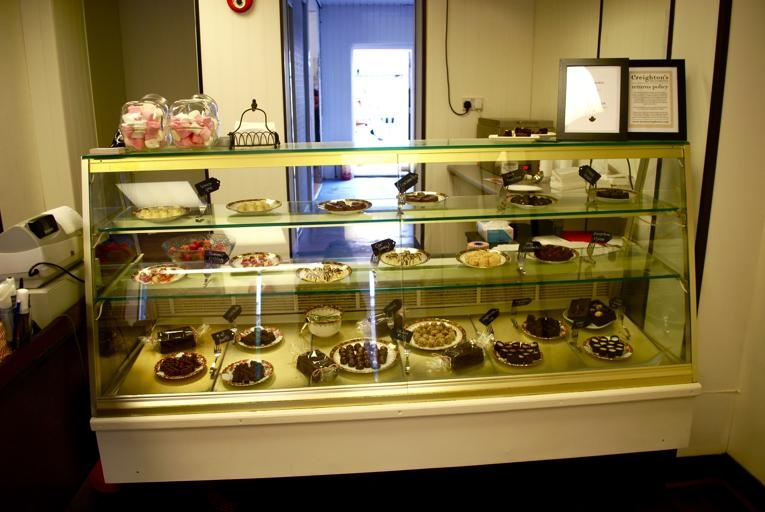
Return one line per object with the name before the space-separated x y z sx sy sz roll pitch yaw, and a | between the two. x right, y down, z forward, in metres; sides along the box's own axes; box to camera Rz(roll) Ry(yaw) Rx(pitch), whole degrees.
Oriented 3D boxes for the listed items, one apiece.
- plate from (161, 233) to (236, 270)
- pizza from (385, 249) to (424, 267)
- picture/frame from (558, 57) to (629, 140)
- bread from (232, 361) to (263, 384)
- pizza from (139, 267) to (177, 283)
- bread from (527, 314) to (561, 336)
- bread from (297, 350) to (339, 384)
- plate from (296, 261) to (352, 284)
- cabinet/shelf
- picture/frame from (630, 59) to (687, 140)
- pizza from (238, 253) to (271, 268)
plate | -1.000 -0.029 2.920 0.256 0.084 0.248 -4 12 -11
pizza | 0.120 0.011 2.986 0.135 0.017 0.132 8 31 13
picture/frame | 1.119 -0.812 2.809 0.450 0.510 0.043 1 -2 4
bread | -0.721 0.629 2.870 0.116 0.034 0.114 0 28 -3
pizza | -1.232 0.108 2.904 0.118 0.014 0.114 1 38 -9
bread | 0.927 0.379 3.095 0.128 0.043 0.133 -9 19 -31
bread | -0.362 0.572 2.872 0.144 0.076 0.183 -11 27 -30
plate | -0.327 0.095 2.951 0.174 0.038 0.168 -10 24 -33
cabinet/shelf | 0.010 0.286 2.883 1.940 1.030 0.679 -3 20 -3
picture/frame | 1.461 -0.821 2.842 0.451 0.479 0.037 2 -5 1
pizza | -0.718 0.024 2.974 0.113 0.015 0.109 -22 57 -23
